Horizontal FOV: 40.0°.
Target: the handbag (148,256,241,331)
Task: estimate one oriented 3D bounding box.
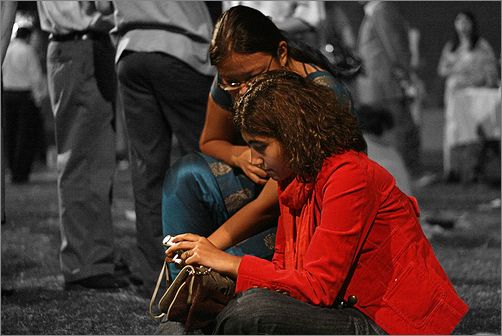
[{"bbox_3d":[-0.266,0.607,3.422,0.308,0.291,0.410,10,-2,26],"label":"handbag"}]

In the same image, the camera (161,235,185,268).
[{"bbox_3d":[-0.380,0.421,3.475,0.140,0.142,0.054,25,32,24],"label":"camera"}]

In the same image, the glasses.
[{"bbox_3d":[-0.099,-0.495,3.725,0.196,0.206,0.060,-3,-36,16],"label":"glasses"}]
